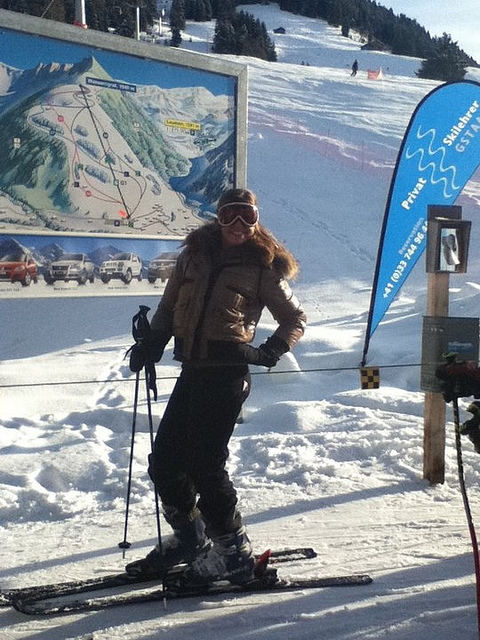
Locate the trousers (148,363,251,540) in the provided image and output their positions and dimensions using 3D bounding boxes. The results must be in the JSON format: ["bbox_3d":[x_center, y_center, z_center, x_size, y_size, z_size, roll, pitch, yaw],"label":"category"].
[{"bbox_3d":[-0.234,0.781,5.136,0.522,1.077,0.353,1,7,31],"label":"trousers"}]

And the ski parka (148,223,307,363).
[{"bbox_3d":[-0.067,-0.156,5.220,0.950,0.833,0.438,9,1,27],"label":"ski parka"}]

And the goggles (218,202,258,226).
[{"bbox_3d":[-0.006,-0.613,5.145,0.230,0.136,0.120,-2,6,-2],"label":"goggles"}]

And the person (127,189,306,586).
[{"bbox_3d":[-0.127,0.364,5.159,0.977,2.228,0.513,-3,6,-7],"label":"person"}]
